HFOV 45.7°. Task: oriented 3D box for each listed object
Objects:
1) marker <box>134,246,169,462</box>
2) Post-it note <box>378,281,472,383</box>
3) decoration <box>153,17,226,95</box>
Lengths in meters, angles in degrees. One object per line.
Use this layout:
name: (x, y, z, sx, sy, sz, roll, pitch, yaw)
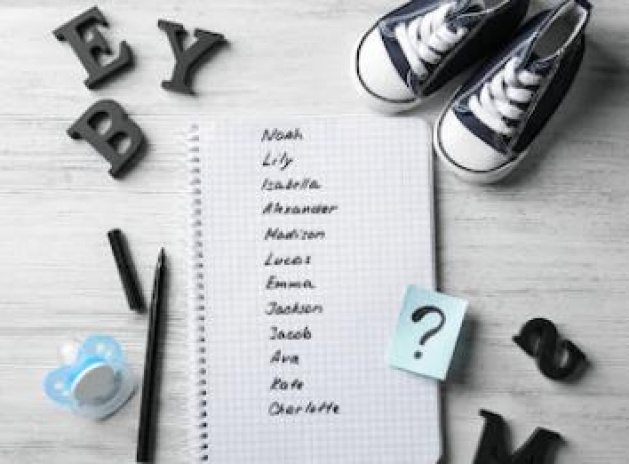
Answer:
marker: (-0.254, 0.188, 1.153, 0.034, 0.027, 0.320, 5, 88, -35)
Post-it note: (0.165, 0.156, 1.149, 0.116, 0.018, 0.147, 23, 85, 4)
decoration: (-0.199, -0.273, 1.176, 0.112, 0.041, 0.104, 9, 73, 3)
